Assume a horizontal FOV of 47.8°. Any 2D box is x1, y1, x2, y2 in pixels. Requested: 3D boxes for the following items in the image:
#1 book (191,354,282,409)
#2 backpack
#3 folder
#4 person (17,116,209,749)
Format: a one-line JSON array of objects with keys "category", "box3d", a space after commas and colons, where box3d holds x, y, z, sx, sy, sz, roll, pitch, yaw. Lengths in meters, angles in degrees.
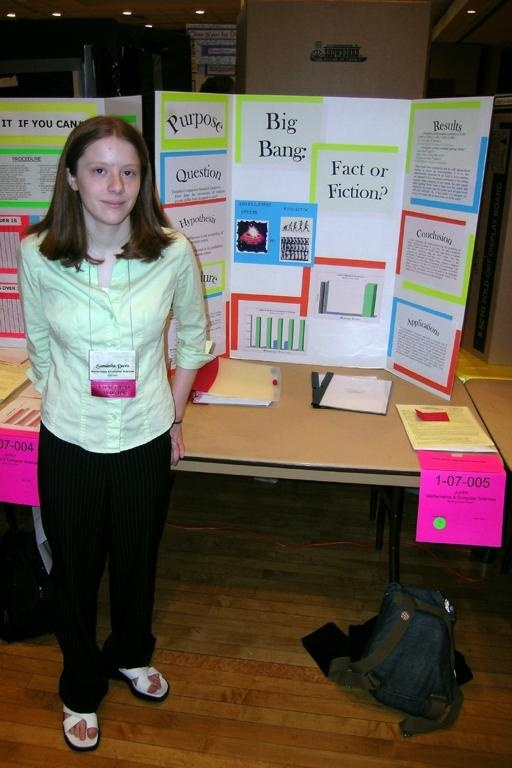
[{"category": "book", "box3d": [-0.027, 0.001, 2.015, 0.193, 0.047, 0.197, 5, 35, 8]}, {"category": "backpack", "box3d": [0.431, 0.789, 1.700, 0.396, 0.166, 0.430, 24, 41, 23]}, {"category": "folder", "box3d": [-0.030, 0.003, 2.016, 0.185, 0.045, 0.189, 5, 35, 8]}, {"category": "person", "box3d": [-0.326, 0.221, 1.393, 0.423, 1.570, 0.309, 0, 24, -5]}]
